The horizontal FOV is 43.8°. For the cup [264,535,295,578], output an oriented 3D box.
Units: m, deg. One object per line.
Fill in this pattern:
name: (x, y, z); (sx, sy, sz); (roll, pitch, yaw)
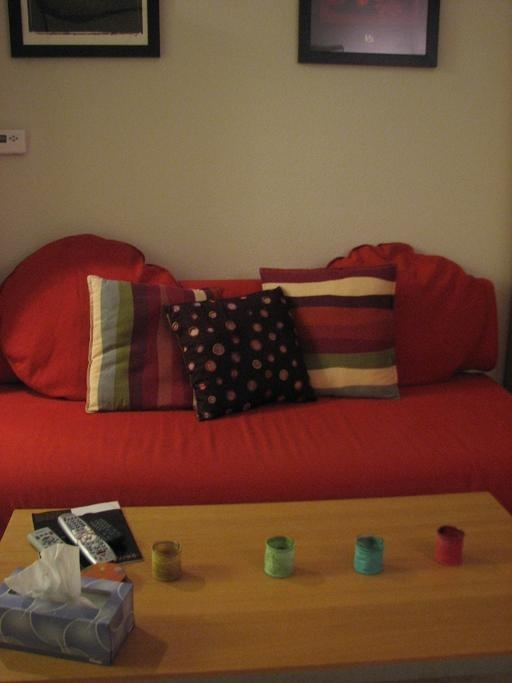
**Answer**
cup: (0.039, 0.380, 1.114); (0.065, 0.057, 0.063); (0, 14, 0)

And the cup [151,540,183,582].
cup: (-0.158, 0.382, 1.112); (0.052, 0.050, 0.051); (2, 6, 0)

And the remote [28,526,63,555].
remote: (-0.378, 0.355, 1.135); (0.055, 0.016, 0.074); (-3, 16, -37)

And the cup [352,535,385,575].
cup: (0.191, 0.377, 1.133); (0.066, 0.055, 0.062); (-1, 11, 0)
